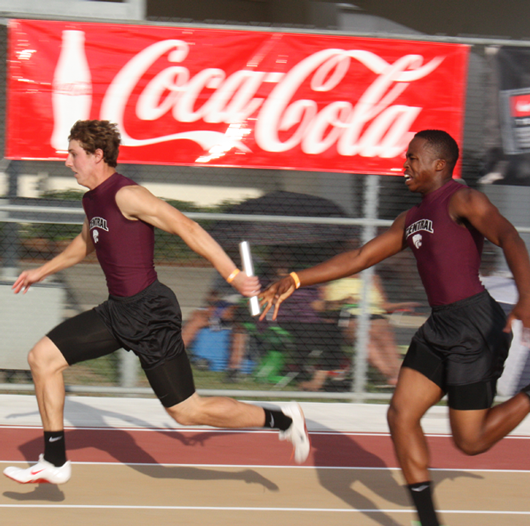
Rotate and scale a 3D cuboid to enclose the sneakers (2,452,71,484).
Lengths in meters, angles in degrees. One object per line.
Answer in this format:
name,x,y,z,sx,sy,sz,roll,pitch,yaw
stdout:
sneakers,-1.449,1.331,5.335,0.400,0.225,0.169,-3,13,-6
